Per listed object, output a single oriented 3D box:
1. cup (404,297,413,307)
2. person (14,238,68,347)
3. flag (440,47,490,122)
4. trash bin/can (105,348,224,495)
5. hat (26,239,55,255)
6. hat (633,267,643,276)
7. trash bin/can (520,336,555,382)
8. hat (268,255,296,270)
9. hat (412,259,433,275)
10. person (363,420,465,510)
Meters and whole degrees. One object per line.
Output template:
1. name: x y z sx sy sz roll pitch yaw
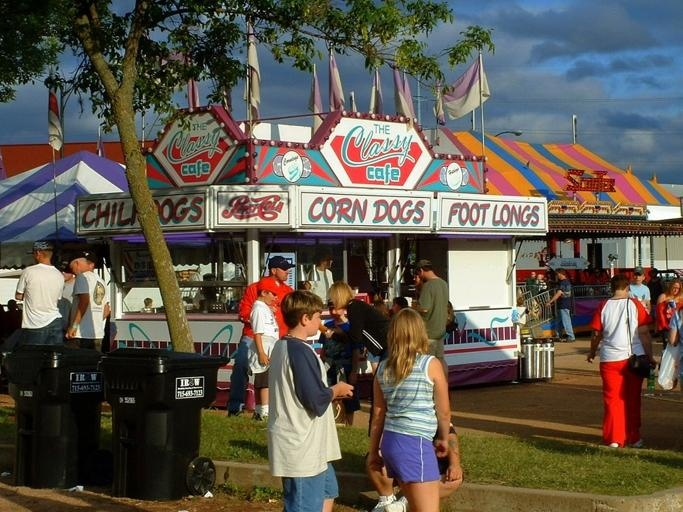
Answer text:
1. cup: 1.208 0.826 20.496 0.209 0.210 0.179 4 -4 2
2. person: -4.389 0.884 16.914 0.609 2.315 0.595 -3 22 -25
3. flag: 2.499 -3.389 23.458 0.651 1.165 1.462 -1 1 -27
4. trash bin/can: -2.311 2.051 14.077 1.464 1.833 1.605 2 -1 -18
5. hat: -4.878 -0.154 18.685 0.395 0.205 0.296 2 2 31
6. hat: 5.412 0.287 20.944 0.162 0.099 0.279 -2 -8 17
7. trash bin/can: 3.778 1.948 21.584 0.689 0.912 0.753 -2 -6 38
8. hat: -0.899 0.110 16.831 0.316 0.178 0.250 3 -1 5
9. hat: 1.232 0.168 17.663 0.201 0.158 0.270 -1 0 -36
10. person: 0.783 2.257 12.283 0.750 0.702 1.559 23 7 11
